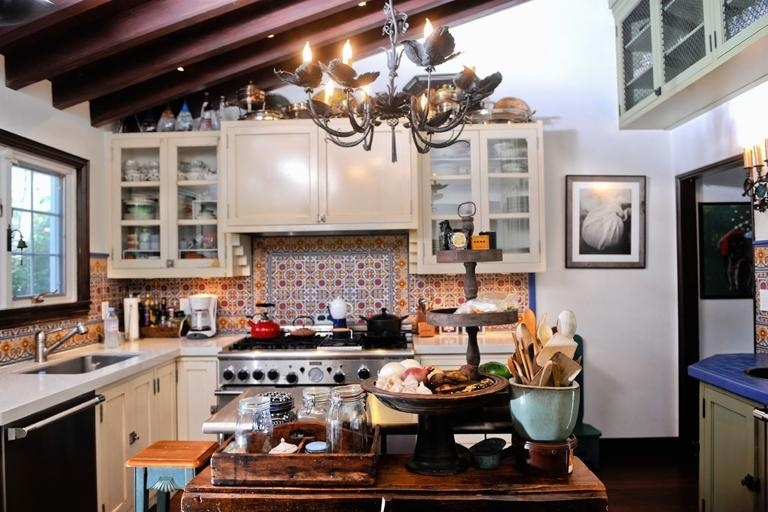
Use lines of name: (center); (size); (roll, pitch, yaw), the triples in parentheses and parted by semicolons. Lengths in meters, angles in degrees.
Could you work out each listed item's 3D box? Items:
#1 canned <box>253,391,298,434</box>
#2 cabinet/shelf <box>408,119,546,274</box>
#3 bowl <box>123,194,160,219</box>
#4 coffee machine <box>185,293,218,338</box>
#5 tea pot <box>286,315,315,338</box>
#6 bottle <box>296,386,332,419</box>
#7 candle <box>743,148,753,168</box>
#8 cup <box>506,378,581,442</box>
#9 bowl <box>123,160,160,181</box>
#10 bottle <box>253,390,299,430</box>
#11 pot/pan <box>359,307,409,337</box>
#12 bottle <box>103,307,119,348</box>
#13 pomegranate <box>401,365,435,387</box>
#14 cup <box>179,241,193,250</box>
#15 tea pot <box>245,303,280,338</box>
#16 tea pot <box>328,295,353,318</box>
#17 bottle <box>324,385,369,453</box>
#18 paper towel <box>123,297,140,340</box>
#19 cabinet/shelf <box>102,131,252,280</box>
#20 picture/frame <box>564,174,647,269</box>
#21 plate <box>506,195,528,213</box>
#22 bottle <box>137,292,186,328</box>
canned: (-0.610, 0.879, 3.746); (0.195, 0.164, 0.190); (-1, -7, -4)
cabinet/shelf: (0.772, -0.481, 5.316); (1.301, 1.456, 0.471); (2, -3, -4)
bowl: (-2.135, -0.417, 5.761); (0.249, 0.144, 0.243); (0, -1, 0)
coffee machine: (-1.621, 0.533, 5.846); (0.242, 0.394, 0.230); (-3, 0, -12)
tea pot: (-0.720, 0.616, 5.776); (0.189, 0.155, 0.184); (0, -9, 0)
bottle: (-0.378, 0.780, 3.643); (0.162, 0.228, 0.203); (-2, -4, 10)
candle: (2.675, -0.716, 4.804); (0.040, 0.138, 0.058); (-4, 0, -45)
cup: (0.843, 0.791, 3.447); (0.324, 0.222, 0.323); (-1, -7, 0)
bowl: (-2.138, -0.744, 5.781); (0.239, 0.099, 0.235); (-2, -3, 0)
bottle: (-0.598, 0.872, 3.723); (0.188, 0.163, 0.184); (1, -6, -30)
pot/pan: (0.006, 0.570, 5.568); (0.344, 0.171, 0.246); (0, -8, -2)
bottle: (-2.246, 0.592, 5.404); (0.129, 0.343, 0.104); (-3, 0, 37)
pomegranate: (0.186, 0.631, 3.503); (0.119, 0.093, 0.201); (-3, 0, 37)
cup: (-1.732, -0.093, 5.753); (0.106, 0.071, 0.063); (1, -2, -15)
tea pot: (-1.038, 0.566, 5.772); (0.351, 0.290, 0.257); (-1, -4, 7)
tea pot: (-0.364, 0.458, 5.792); (0.211, 0.194, 0.149); (-1, -3, 16)
bottle: (-0.185, 0.850, 3.440); (0.235, 0.343, 0.106); (-3, 0, -4)
paper towel: (-2.197, 0.548, 5.715); (0.123, 0.387, 0.109); (-3, 0, -25)
cabinet/shelf: (-1.812, -0.437, 5.717); (1.309, 1.421, 0.418); (-1, -4, -2)
picture/frame: (2.015, -0.290, 5.966); (0.872, 1.004, 0.048); (0, -2, -1)
plate: (1.153, -0.440, 5.625); (0.161, 0.110, 0.011); (0, 6, 5)
bottle: (-2.004, 0.510, 5.924); (0.520, 0.340, 0.257); (0, -8, -9)
